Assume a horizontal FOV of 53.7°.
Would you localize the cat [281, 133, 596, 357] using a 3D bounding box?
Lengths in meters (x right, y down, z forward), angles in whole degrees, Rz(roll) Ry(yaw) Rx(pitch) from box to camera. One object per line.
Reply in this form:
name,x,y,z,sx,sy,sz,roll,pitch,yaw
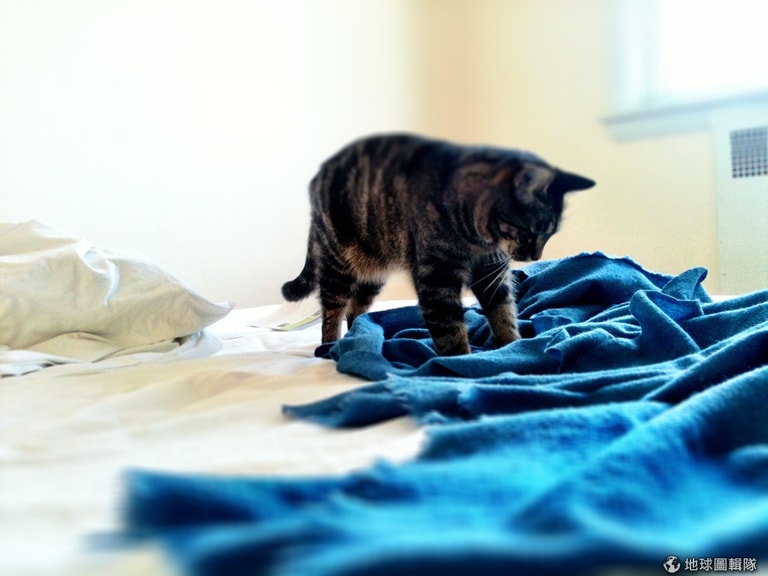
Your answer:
cat,0.203,-0.174,1.918,0.955,0.633,0.338,9,19,35
